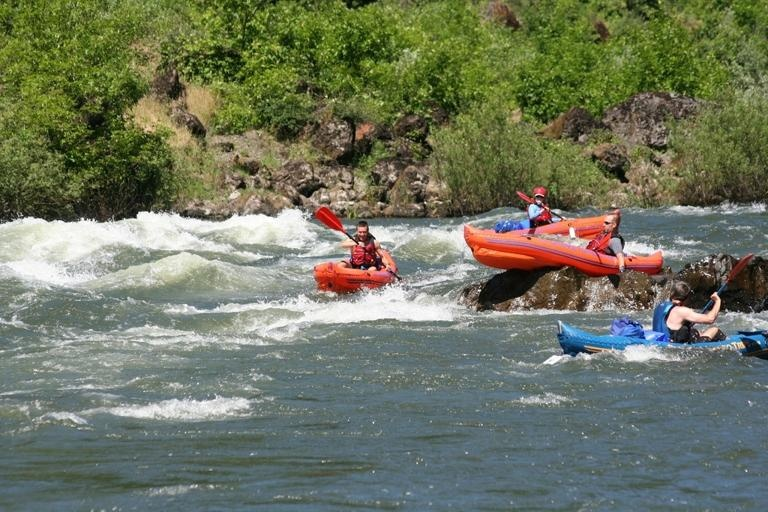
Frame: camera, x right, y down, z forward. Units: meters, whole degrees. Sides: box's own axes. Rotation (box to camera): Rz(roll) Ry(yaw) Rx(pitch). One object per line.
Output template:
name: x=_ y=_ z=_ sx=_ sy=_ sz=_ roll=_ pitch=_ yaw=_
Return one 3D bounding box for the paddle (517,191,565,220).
paddle: x=5.512 y=-1.810 z=53.995 sx=0.397 sy=0.337 sz=3.334 roll=-18 pitch=28 yaw=-31

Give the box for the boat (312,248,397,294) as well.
boat: x=-1.053 y=0.659 z=47.523 sx=2.468 sy=0.678 sz=1.280 roll=3 pitch=3 yaw=-2

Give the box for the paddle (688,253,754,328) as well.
paddle: x=9.735 y=1.011 z=44.365 sx=0.312 sy=2.621 sz=0.223 roll=40 pitch=21 yaw=5

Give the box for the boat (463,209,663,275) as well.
boat: x=5.367 y=-0.143 z=45.816 sx=5.578 sy=1.196 sz=2.446 roll=3 pitch=13 yaw=-16
